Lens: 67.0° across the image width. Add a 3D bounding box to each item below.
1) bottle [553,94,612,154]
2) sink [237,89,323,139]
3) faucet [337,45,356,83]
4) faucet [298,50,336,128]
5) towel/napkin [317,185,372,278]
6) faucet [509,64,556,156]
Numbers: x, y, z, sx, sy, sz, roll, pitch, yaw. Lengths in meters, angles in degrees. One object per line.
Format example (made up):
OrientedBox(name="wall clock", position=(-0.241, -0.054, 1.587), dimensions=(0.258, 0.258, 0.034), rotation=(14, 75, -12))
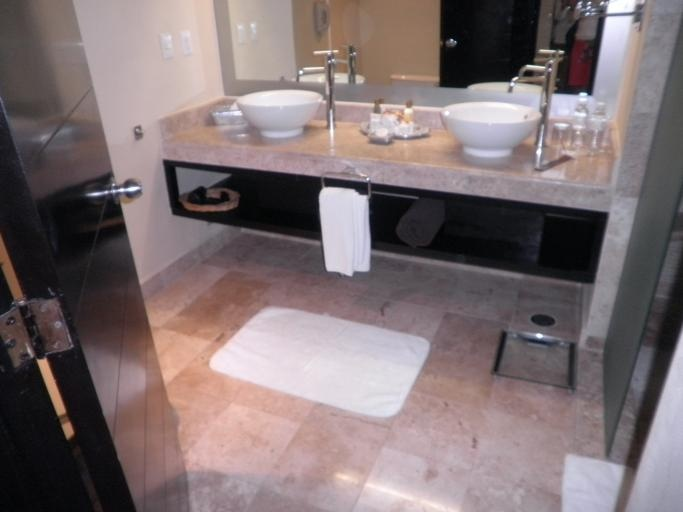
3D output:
OrientedBox(name="bottle", position=(1.152, -0.632, 2.455), dimensions=(0.257, 0.211, 0.350), rotation=(10, 31, 20))
OrientedBox(name="sink", position=(-0.338, -0.786, 2.859), dimensions=(0.455, 0.190, 0.457), rotation=(-3, 29, -3))
OrientedBox(name="faucet", position=(0.032, -1.122, 2.987), dimensions=(0.071, 0.275, 0.056), rotation=(28, 45, 32))
OrientedBox(name="faucet", position=(-0.124, -0.932, 2.886), dimensions=(0.186, 0.421, 0.195), rotation=(-2, 14, -1))
OrientedBox(name="towel/napkin", position=(0.061, -0.102, 2.553), dimensions=(0.141, 0.423, 0.276), rotation=(0, 6, -11))
OrientedBox(name="faucet", position=(0.900, -0.761, 2.465), dimensions=(0.203, 0.401, 0.594), rotation=(7, 30, 16))
